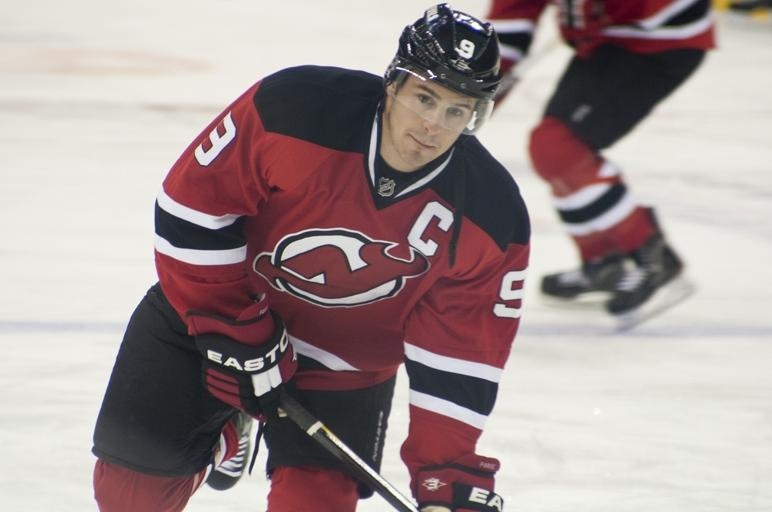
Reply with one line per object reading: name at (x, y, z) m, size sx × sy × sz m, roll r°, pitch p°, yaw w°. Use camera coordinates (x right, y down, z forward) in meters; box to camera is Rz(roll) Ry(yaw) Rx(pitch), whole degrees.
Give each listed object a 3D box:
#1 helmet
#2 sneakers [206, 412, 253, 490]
helmet at (0.201, -0.645, 3.620) m, size 0.377 × 0.366 × 0.243 m, roll 19°, pitch 37°, yaw 14°
sneakers at (-0.564, 0.756, 4.079) m, size 0.183 × 0.218 × 0.271 m, roll -1°, pitch 46°, yaw 0°
